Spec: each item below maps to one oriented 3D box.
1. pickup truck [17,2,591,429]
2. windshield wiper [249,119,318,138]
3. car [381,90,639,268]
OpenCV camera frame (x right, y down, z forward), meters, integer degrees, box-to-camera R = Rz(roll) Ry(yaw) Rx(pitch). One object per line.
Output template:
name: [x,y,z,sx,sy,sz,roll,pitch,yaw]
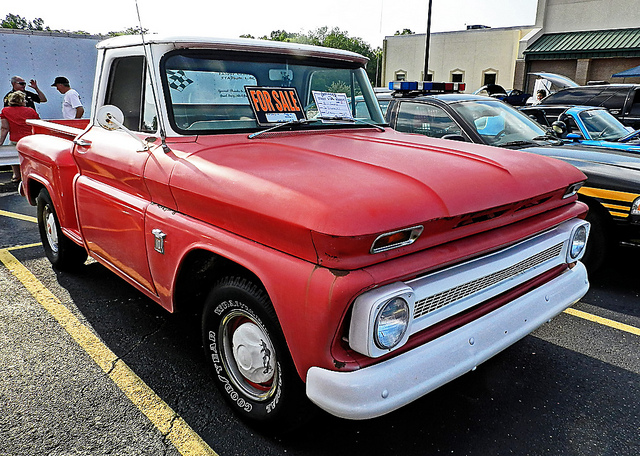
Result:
pickup truck: [-0.777,-0.197,3.673,2.593,2.001,4.782,-12,16,-42]
windshield wiper: [-0.324,-0.803,3.073,0.513,0.054,0.055,-22,-4,-25]
car: [2.757,-0.993,5.042,3.922,1.203,1.728,14,23,41]
